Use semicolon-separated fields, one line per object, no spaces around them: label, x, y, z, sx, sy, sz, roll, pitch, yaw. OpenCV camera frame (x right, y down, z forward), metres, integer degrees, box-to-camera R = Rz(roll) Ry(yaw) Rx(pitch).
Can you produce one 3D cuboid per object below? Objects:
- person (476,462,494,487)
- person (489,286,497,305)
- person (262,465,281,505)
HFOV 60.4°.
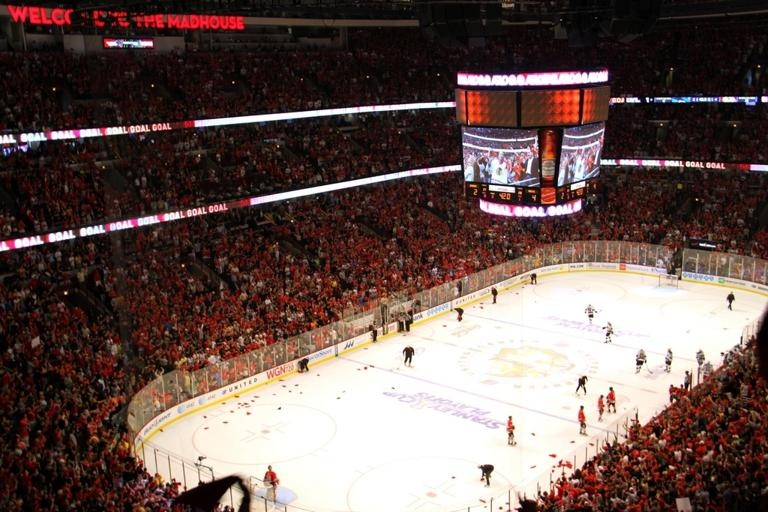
person;4.159;8.710;26.693;0.779;1.028;0.577;1;0;1
person;7.502;2.493;44.745;0.384;1.122;1.272;3;24;7
person;-4.479;8.807;25.912;0.612;1.483;0.607;-9;18;-42
